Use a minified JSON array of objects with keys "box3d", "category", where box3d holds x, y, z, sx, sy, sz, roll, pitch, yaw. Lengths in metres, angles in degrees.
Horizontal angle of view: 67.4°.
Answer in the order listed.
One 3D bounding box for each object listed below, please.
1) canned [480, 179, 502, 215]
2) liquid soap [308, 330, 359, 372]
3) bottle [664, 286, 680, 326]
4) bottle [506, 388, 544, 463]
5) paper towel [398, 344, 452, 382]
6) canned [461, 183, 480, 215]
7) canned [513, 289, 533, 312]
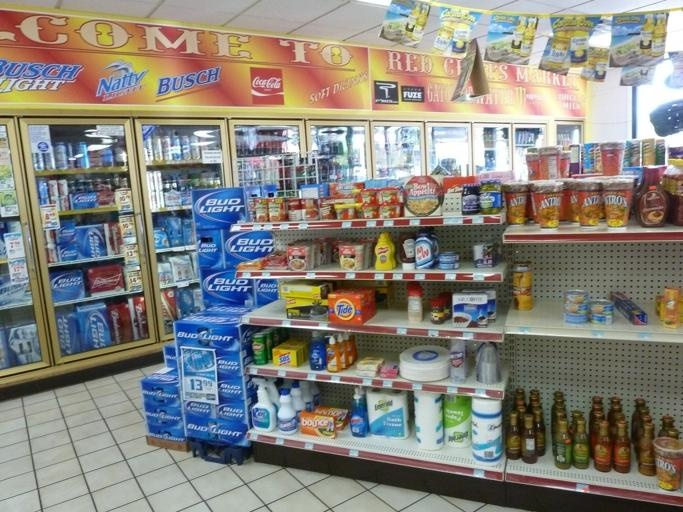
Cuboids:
[{"box3d":[1.008,-0.394,3.431,0.144,0.210,0.190,0,12,19],"category":"canned"},{"box3d":[0.037,0.723,3.917,0.504,0.317,0.219,1,10,8],"category":"liquid soap"},{"box3d":[2.014,0.302,3.116,0.089,0.223,0.158,3,14,31],"category":"bottle"},{"box3d":[1.261,1.137,3.490,0.244,0.454,0.285,1,13,21],"category":"bottle"},{"box3d":[0.601,0.771,3.734,0.388,0.098,0.311,4,20,12],"category":"paper towel"},{"box3d":[0.865,-0.372,3.410,0.114,0.199,0.069,-2,13,11],"category":"canned"},{"box3d":[1.262,0.301,3.547,0.128,0.139,0.091,0,13,14],"category":"canned"}]
